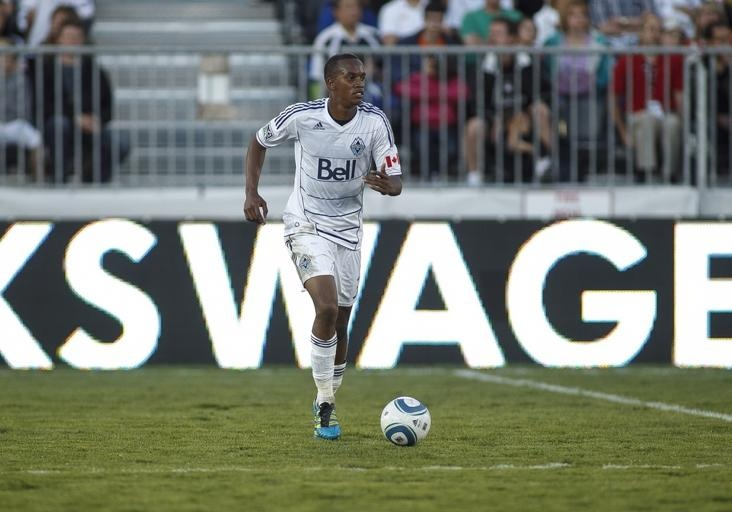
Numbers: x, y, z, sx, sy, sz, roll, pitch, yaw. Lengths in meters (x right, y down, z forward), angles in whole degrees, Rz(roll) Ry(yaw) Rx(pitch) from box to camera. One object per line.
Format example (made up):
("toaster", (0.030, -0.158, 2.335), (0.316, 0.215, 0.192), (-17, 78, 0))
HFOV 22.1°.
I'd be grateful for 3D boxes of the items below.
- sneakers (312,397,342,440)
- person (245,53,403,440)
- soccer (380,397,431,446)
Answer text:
("sneakers", (-0.372, 1.529, 17.978), (0.282, 0.327, 0.273), (2, 9, 10))
("person", (-0.389, -0.181, 18.150), (1.453, 3.520, 0.836), (0, 8, 0))
("soccer", (0.374, 1.559, 17.909), (0.456, 0.492, 0.491), (4, 28, -4))
